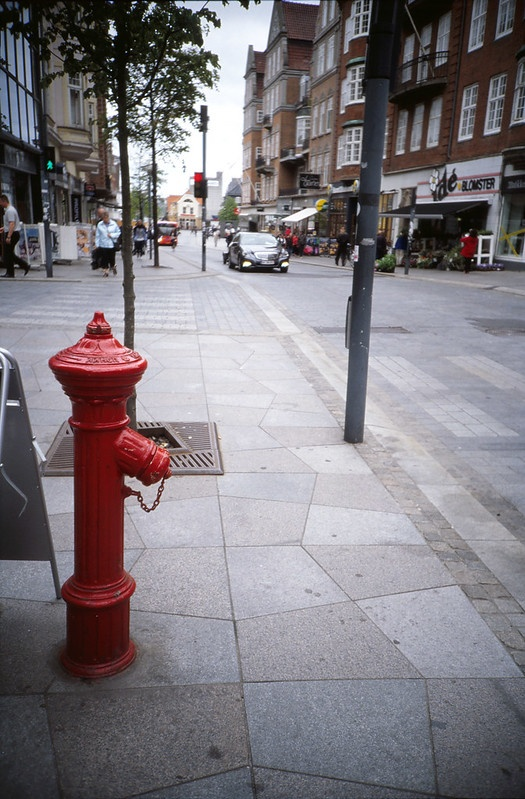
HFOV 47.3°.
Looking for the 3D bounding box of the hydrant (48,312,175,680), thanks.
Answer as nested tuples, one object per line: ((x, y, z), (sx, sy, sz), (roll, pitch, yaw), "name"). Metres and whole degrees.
((-0.519, 0.346, 2.083), (0.380, 1.262, 0.315), (-2, 12, -19), "hydrant")

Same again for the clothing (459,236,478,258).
((9.356, -6.817, 27.121), (0.811, 1.008, 0.659), (1, 11, -4), "clothing")
